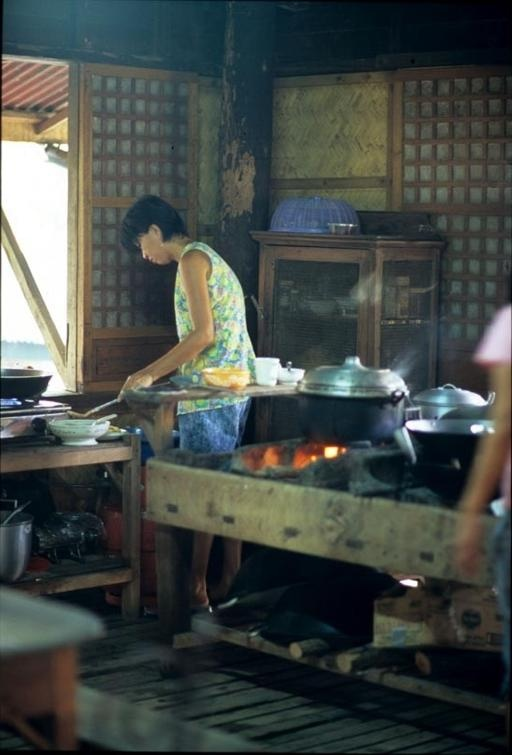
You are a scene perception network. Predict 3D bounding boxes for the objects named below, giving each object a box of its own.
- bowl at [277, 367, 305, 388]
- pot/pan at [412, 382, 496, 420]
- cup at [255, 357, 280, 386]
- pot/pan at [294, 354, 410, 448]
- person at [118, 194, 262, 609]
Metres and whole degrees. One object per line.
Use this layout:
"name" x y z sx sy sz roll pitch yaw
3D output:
"bowl" 0.144 0.002 3.068 0.082 0.049 0.081 -1 2 0
"pot/pan" 0.658 0.075 2.594 0.159 0.062 0.147 4 8 36
"cup" 0.047 -0.022 2.992 0.109 0.096 0.087 2 5 19
"pot/pan" 0.293 0.071 2.259 0.306 0.194 0.254 -2 -2 26
"person" -0.262 0.131 2.875 0.517 1.049 0.756 3 -2 0
